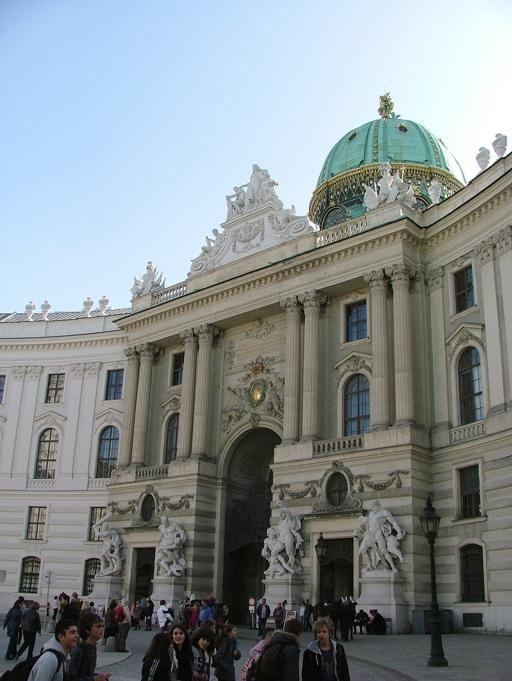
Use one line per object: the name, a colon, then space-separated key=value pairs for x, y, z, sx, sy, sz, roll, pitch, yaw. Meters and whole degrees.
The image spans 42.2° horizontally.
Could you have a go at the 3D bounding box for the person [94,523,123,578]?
person: x=-8.431 y=12.032 z=38.385 sx=1.418 sy=2.944 sz=0.827 roll=-15 pitch=-26 yaw=35

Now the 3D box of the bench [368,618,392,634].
bench: x=4.590 y=10.446 z=24.354 sx=0.804 sy=0.759 sz=0.590 roll=-4 pitch=-25 yaw=16

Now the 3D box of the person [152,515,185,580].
person: x=-4.478 y=10.758 z=34.638 sx=1.585 sy=3.031 sz=1.056 roll=-3 pitch=-22 yaw=10
